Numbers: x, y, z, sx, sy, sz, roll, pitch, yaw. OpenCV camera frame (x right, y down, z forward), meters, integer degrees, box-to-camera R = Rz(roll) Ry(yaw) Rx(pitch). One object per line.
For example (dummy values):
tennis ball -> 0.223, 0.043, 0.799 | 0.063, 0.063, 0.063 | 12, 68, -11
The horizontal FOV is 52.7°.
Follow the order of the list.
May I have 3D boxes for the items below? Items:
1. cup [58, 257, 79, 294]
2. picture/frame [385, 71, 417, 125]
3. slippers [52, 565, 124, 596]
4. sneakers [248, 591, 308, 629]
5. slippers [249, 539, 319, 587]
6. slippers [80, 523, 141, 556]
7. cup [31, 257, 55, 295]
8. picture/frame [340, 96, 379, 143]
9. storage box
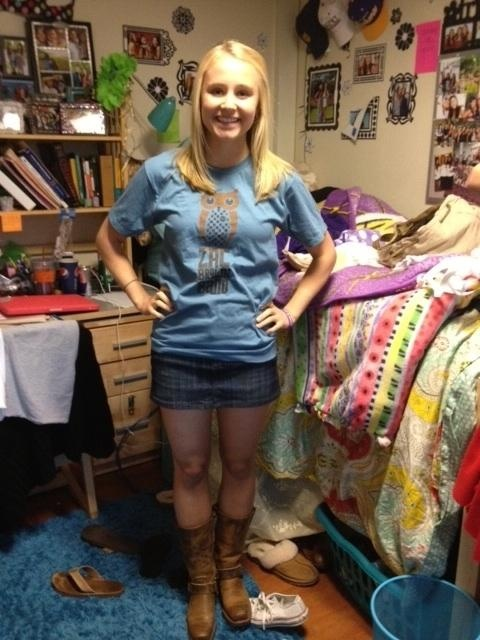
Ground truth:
cup -> -0.737, -0.193, 2.082 | 0.081, 0.154, 0.149 | -2, 10, -21
picture/frame -> 0.712, -0.975, 2.134 | 0.029, 0.214, 0.157 | -2, 10, -23
slippers -> -0.437, 0.755, 1.385 | 0.159, 0.045, 0.086 | 9, 4, -15
sneakers -> 0.100, 0.762, 1.279 | 0.129, 0.048, 0.077 | 1, 7, 4
slippers -> 0.143, 0.742, 1.493 | 0.185, 0.058, 0.098 | 11, 14, 42
slippers -> -0.424, 0.720, 1.585 | 0.150, 0.019, 0.081 | 11, 9, 22
cup -> -0.823, -0.183, 2.026 | 0.095, 0.145, 0.081 | -1, 10, -16
picture/frame -> 0.585, -0.973, 2.338 | 0.024, 0.230, 0.238 | -15, 30, -38
storage box -> 0.319, 0.654, 1.345 | 0.163, 0.099, 0.228 | -18, 35, -24
